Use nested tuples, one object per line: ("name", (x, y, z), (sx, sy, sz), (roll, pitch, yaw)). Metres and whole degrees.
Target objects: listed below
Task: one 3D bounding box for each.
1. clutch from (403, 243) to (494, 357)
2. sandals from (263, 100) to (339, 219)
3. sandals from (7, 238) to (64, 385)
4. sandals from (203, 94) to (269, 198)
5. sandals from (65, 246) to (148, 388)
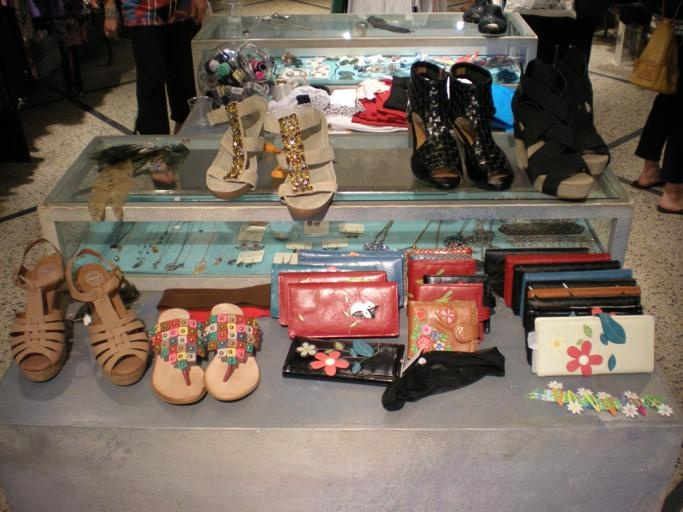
("clutch", (0.343, 0.153, 1.842), (0.266, 0.104, 0.342), (1, 75, 1))
("sandals", (-0.129, -0.361, 1.963), (0.209, 0.140, 0.472), (-9, 69, 4))
("sandals", (-1.039, 0.142, 1.886), (0.190, 0.211, 0.590), (-4, 53, -19))
("sandals", (-0.386, -0.408, 1.975), (0.197, 0.187, 0.416), (10, 63, 9))
("sandals", (-0.797, 0.225, 1.876), (0.216, 0.182, 0.629), (-19, 61, -23))
